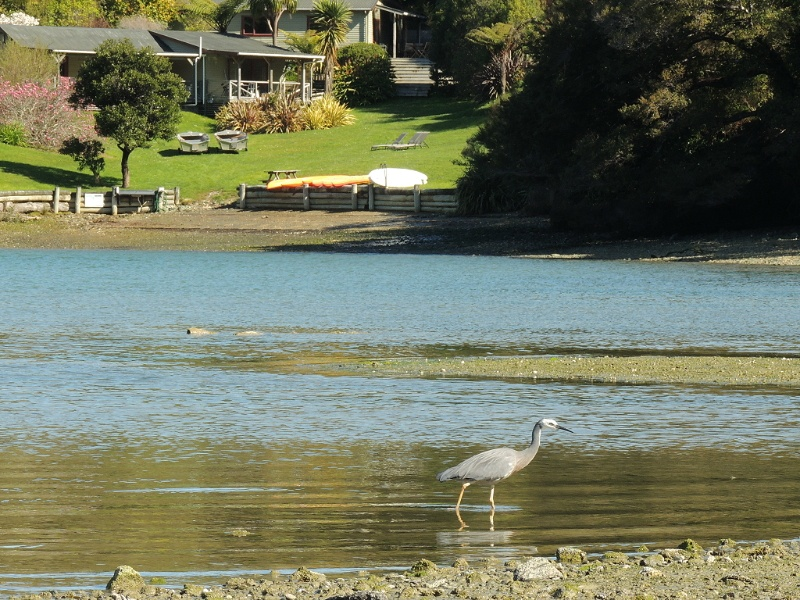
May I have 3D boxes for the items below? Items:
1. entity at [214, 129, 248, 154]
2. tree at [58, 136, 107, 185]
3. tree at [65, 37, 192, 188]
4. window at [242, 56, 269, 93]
[{"bbox_3d":[-8.592,-8.351,113.914,1.642,1.080,1.408,1,12,-7],"label":"entity"},{"bbox_3d":[-14.956,-6.904,105.206,1.843,2.294,3.313,2,12,-6],"label":"tree"},{"bbox_3d":[-12.821,-9.098,105.596,4.287,6.757,4.441,0,13,-15],"label":"tree"},{"bbox_3d":[-8.471,-13.561,130.295,2.617,2.222,1.331,-2,15,0],"label":"window"}]
